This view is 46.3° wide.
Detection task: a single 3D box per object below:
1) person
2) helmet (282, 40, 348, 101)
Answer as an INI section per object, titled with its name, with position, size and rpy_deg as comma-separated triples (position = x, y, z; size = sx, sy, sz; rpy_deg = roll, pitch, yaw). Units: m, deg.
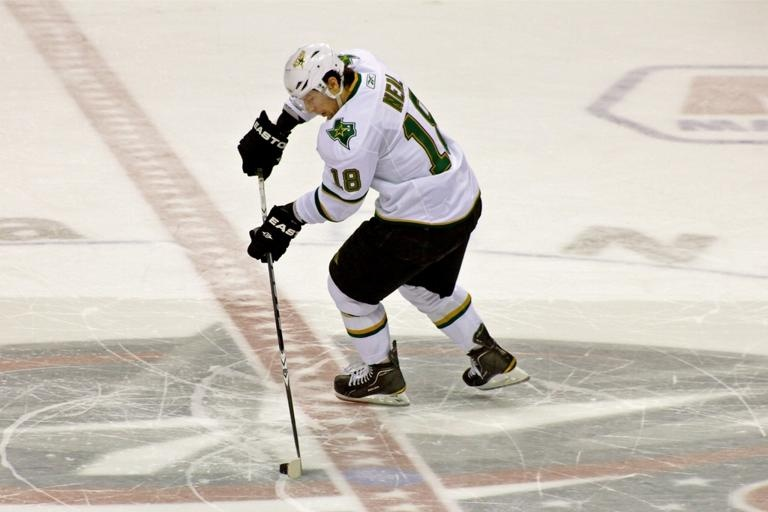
[person]
position = 0.002, -0.145, 4.896
size = 1.301, 1.947, 0.453
rpy_deg = -3, 12, -22
[helmet]
position = -0.361, -0.979, 4.796
size = 0.416, 0.267, 0.311
rpy_deg = -17, 26, -32
